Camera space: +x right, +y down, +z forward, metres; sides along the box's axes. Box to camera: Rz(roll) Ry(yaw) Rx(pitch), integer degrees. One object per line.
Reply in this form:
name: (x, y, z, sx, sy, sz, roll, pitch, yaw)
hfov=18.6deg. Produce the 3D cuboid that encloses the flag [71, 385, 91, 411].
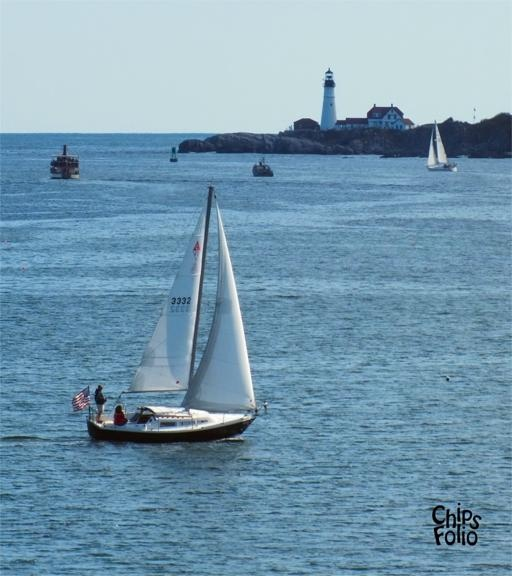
flag: (-6.359, 4.111, 56.013, 0.125, 1.343, 0.886, 6, 3, 36)

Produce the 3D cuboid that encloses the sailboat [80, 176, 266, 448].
sailboat: (-2.397, 0.929, 54.098, 4.814, 9.105, 2.693, 1, 12, 0)

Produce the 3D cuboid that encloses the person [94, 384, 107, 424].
person: (-5.517, 4.046, 54.488, 0.373, 1.416, 1.096, -1, 13, -6)
